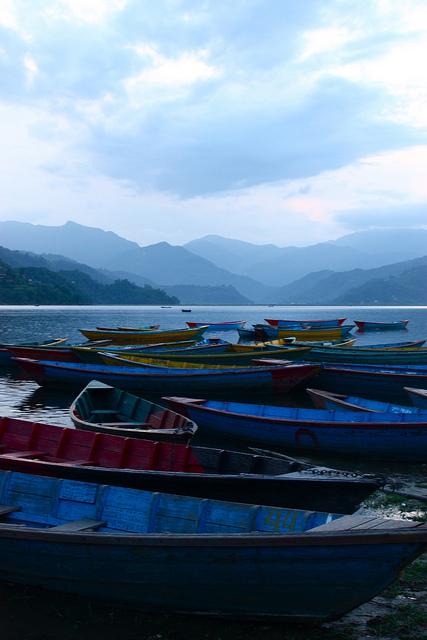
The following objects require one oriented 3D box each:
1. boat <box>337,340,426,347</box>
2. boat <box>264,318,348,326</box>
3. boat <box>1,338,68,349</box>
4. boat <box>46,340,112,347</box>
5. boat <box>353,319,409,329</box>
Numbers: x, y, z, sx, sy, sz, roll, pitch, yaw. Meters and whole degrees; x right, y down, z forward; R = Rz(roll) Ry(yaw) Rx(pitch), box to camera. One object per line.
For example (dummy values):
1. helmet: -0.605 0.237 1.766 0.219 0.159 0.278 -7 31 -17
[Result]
1. boat: 10.384 1.456 35.879 3.212 0.362 0.569 -5 -4 14
2. boat: 10.627 0.164 66.296 8.367 0.966 1.673 0 -1 18
3. boat: -9.703 1.236 31.134 2.563 0.355 0.597 -4 1 -43
4. boat: -6.962 1.198 30.110 2.991 0.339 0.590 0 -3 -37
5. boat: 18.298 0.603 66.473 8.180 1.154 1.846 0 -6 -4
